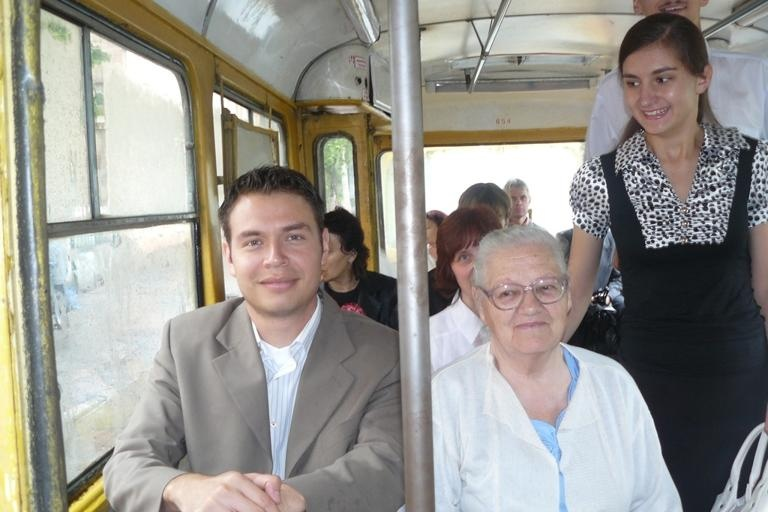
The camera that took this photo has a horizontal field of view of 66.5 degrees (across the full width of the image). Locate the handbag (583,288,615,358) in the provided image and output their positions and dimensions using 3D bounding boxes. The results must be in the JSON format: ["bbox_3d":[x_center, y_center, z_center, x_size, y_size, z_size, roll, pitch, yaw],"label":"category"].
[{"bbox_3d":[1.295,0.419,3.533,0.137,0.459,0.457,4,-5,11],"label":"handbag"}]
